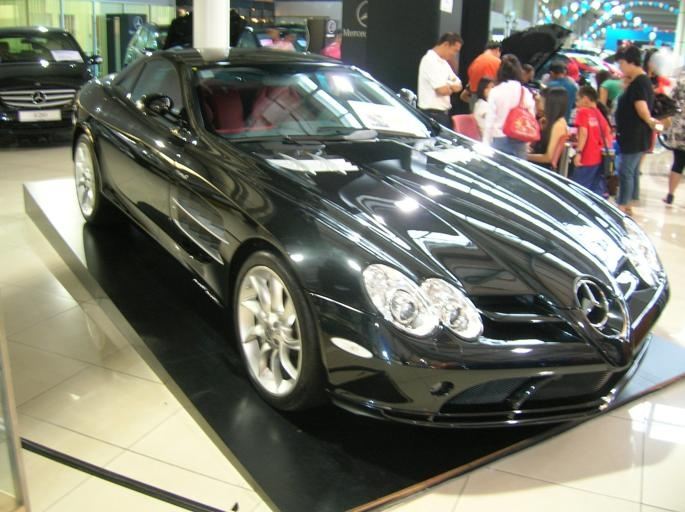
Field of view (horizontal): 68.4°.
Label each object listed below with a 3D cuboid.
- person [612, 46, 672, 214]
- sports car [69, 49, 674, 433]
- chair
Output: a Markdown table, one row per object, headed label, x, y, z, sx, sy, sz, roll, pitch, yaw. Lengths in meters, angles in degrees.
| label | x | y | z | sx | sy | sz | roll | pitch | yaw |
| --- | --- | --- | --- | --- | --- | --- | --- | --- | --- |
| person | 3.140 | -1.312 | 5.396 | 0.580 | 1.755 | 0.552 | 11 | 24 | 32 |
| sports car | 0.048 | -0.293 | 2.628 | 2.781 | 1.421 | 1.621 | 21 | 28 | 39 |
| chair | -0.475 | -0.812 | 2.881 | 0.565 | 0.321 | 0.326 | -10 | 10 | -27 |
